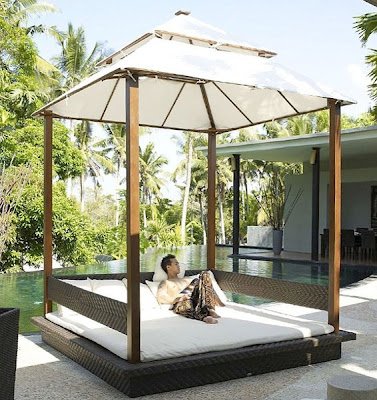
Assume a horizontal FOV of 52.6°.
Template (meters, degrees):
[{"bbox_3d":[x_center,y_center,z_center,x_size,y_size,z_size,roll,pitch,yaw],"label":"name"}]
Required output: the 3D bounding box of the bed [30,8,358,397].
[{"bbox_3d":[0.008,-0.250,3.938,2.661,3.481,2.616,-1,-4,-32],"label":"bed"}]

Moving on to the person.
[{"bbox_3d":[0.024,0.915,3.961,0.441,0.599,0.984,-1,-6,-29],"label":"person"}]
